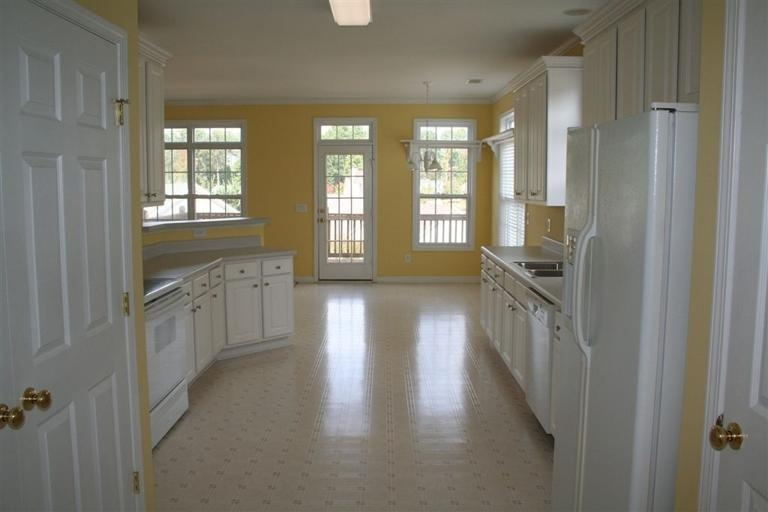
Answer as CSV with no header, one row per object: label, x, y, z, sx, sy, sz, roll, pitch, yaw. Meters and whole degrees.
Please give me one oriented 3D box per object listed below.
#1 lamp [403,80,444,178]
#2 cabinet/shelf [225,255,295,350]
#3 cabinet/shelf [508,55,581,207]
lamp,0.574,-1.965,8.370,0.655,1.367,1.245,1,11,4
cabinet/shelf,-1.399,0.439,5.732,0.745,0.958,0.434,-6,11,-31
cabinet/shelf,1.734,-1.227,5.607,0.492,1.378,1.342,-3,7,-2
